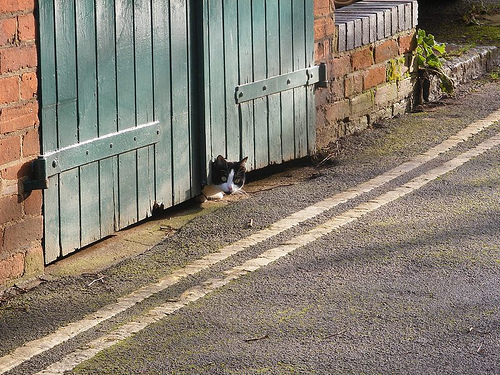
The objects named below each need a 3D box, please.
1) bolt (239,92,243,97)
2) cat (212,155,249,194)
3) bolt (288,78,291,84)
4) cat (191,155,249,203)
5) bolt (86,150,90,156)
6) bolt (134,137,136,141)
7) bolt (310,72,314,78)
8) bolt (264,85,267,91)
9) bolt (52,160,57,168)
[{"bbox_3d":[-0.054,-0.871,6.916,0.003,0.048,0.048,11,25,36],"label":"bolt"},{"bbox_3d":[-0.190,-0.146,6.930,0.285,0.349,0.469,6,14,-16],"label":"cat"},{"bbox_3d":[0.421,-1.086,7.497,0.037,0.053,0.019,0,6,-16],"label":"bolt"},{"bbox_3d":[-0.297,-0.073,6.963,0.390,0.447,0.627,8,1,-36],"label":"cat"},{"bbox_3d":[-1.206,-0.268,5.617,0.010,0.042,0.041,1,1,44],"label":"bolt"},{"bbox_3d":[-0.907,-0.401,6.002,0.009,0.029,0.029,4,2,39],"label":"bolt"},{"bbox_3d":[0.678,-1.182,7.790,0.045,0.045,0.080,3,30,-2],"label":"bolt"},{"bbox_3d":[0.172,-0.976,7.205,0.038,0.055,0.013,-5,14,-38],"label":"bolt"},{"bbox_3d":[-1.391,-0.174,5.362,0.009,0.054,0.045,5,21,23],"label":"bolt"}]
